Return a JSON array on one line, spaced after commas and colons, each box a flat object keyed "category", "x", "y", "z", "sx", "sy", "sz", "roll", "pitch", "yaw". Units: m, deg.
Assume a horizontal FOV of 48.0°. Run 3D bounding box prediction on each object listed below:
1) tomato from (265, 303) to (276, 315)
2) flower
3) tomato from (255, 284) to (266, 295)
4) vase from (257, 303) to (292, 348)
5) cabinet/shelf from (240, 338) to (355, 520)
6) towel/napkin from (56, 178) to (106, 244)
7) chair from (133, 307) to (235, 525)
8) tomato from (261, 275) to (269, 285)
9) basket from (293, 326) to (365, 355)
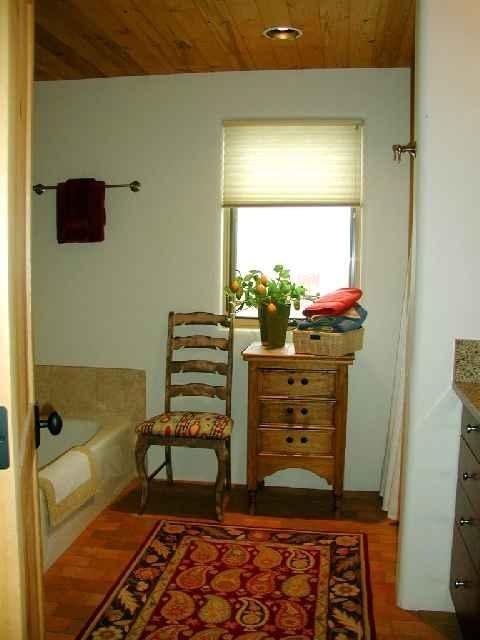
[{"category": "tomato", "x": 0.163, "y": -0.061, "z": 2.807, "sx": 0.050, "sy": 0.056, "sz": 0.049, "roll": 5, "pitch": 31, "yaw": 4}, {"category": "flower", "x": 0.171, "y": -0.159, "z": 2.922, "sx": 0.440, "sy": 0.207, "sz": 0.288, "roll": 3, "pitch": 7, "yaw": -3}, {"category": "tomato", "x": 0.113, "y": -0.160, "z": 2.826, "sx": 0.040, "sy": 0.053, "sz": 0.040, "roll": -17, "pitch": -24, "yaw": 12}, {"category": "vase", "x": 0.168, "y": 0.017, "z": 2.949, "sx": 0.216, "sy": 0.233, "sz": 0.225, "roll": -4, "pitch": 8, "yaw": -33}, {"category": "cabinet/shelf", "x": 0.246, "y": 0.536, "z": 2.919, "sx": 0.750, "sy": 1.000, "sz": 0.681, "roll": 1, "pitch": 3, "yaw": 9}, {"category": "towel/napkin", "x": -0.915, "y": -0.635, "z": 3.114, "sx": 0.336, "sy": 0.443, "sz": 0.243, "roll": 3, "pitch": 11, "yaw": 2}, {"category": "chair", "x": -0.303, "y": 0.491, "z": 2.968, "sx": 0.531, "sy": 1.034, "sz": 0.690, "roll": 0, "pitch": 6, "yaw": -2}, {"category": "tomato", "x": 0.130, "y": -0.214, "z": 2.859, "sx": 0.034, "sy": 0.059, "sz": 0.048, "roll": 1, "pitch": 6, "yaw": 3}, {"category": "basket", "x": 0.470, "y": 0.110, "z": 2.686, "sx": 0.398, "sy": 0.124, "sz": 0.183, "roll": -1, "pitch": 6, "yaw": -16}]
